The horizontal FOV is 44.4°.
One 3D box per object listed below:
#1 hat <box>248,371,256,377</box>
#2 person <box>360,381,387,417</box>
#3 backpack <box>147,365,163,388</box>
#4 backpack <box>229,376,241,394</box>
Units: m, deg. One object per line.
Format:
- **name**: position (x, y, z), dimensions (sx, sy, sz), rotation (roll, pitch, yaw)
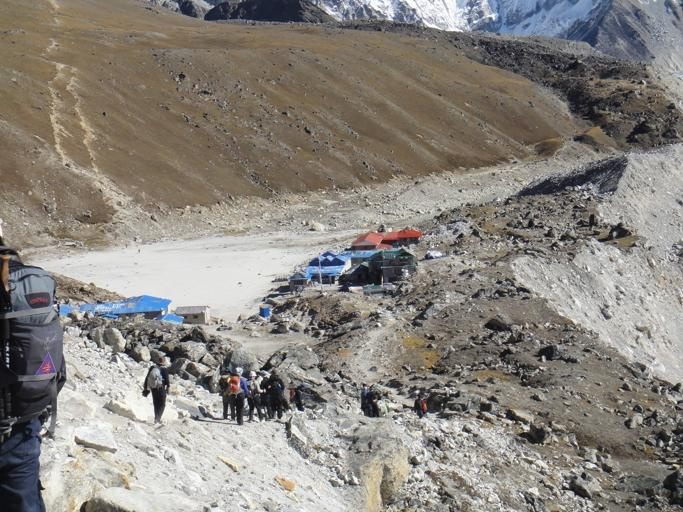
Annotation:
- **hat**: position (-3.387, 4.444, 31.307), dimensions (0.307, 0.204, 0.212), rotation (2, 2, 1)
- **person**: position (1.108, 5.454, 30.888), dimensions (0.840, 0.889, 0.450), rotation (-5, -13, -1)
- **backpack**: position (-5.744, 3.726, 25.517), dimensions (0.460, 0.543, 0.510), rotation (-5, 30, -20)
- **backpack**: position (-3.506, 4.224, 27.119), dimensions (0.358, 0.506, 0.441), rotation (0, 29, -12)
